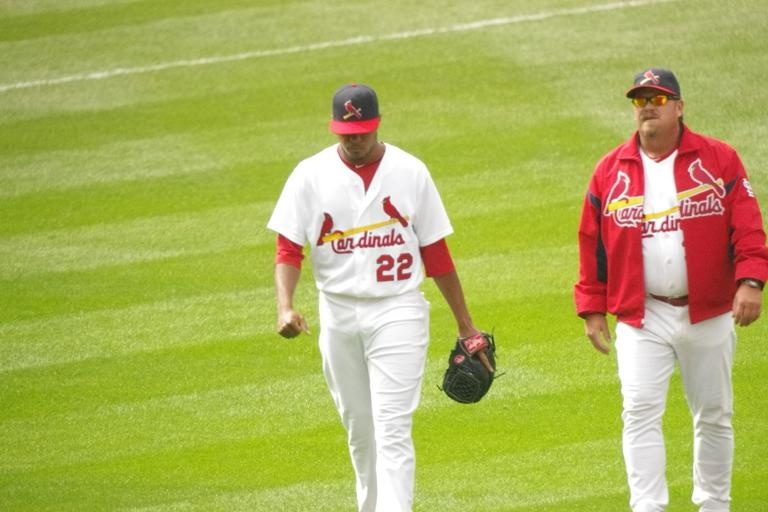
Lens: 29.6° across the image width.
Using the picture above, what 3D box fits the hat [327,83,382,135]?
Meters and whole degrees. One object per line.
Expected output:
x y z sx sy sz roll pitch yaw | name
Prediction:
-0.249 -1.279 12.403 0.473 0.314 0.584 6 31 15 | hat

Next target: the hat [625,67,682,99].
2.424 -1.465 12.539 0.282 0.171 0.386 -4 -13 36 | hat

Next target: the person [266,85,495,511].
-0.053 0.416 12.372 1.675 3.649 0.958 -8 13 1 | person
